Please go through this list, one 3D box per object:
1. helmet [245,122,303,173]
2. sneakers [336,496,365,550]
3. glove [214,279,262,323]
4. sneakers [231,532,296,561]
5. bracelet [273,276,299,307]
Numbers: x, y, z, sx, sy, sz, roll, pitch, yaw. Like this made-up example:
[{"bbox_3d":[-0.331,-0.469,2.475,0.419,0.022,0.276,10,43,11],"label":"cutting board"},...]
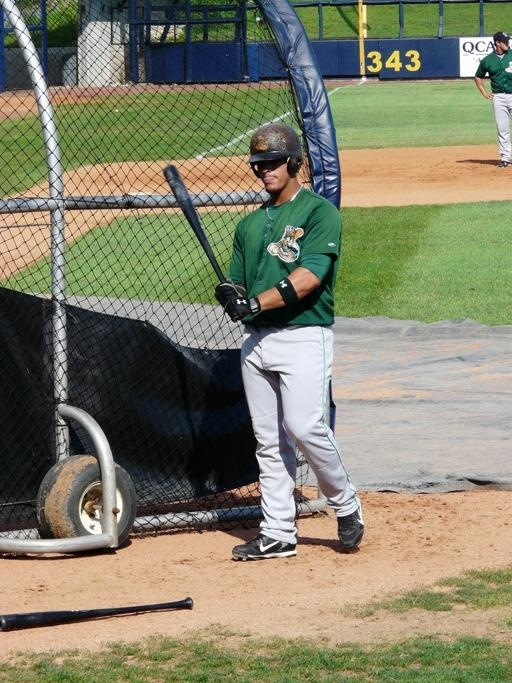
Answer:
[{"bbox_3d":[0.068,-0.785,4.058,0.235,0.189,0.281,6,16,25],"label":"helmet"},{"bbox_3d":[0.400,0.765,4.224,0.084,0.203,0.101,-2,-18,21],"label":"sneakers"},{"bbox_3d":[-0.085,-0.161,3.899,0.198,0.141,0.093,37,66,27],"label":"glove"},{"bbox_3d":[0.028,0.864,4.224,0.293,0.107,0.103,3,-4,-16],"label":"sneakers"},{"bbox_3d":[0.117,-0.192,3.869,0.076,0.098,0.095,-36,31,6],"label":"bracelet"}]
